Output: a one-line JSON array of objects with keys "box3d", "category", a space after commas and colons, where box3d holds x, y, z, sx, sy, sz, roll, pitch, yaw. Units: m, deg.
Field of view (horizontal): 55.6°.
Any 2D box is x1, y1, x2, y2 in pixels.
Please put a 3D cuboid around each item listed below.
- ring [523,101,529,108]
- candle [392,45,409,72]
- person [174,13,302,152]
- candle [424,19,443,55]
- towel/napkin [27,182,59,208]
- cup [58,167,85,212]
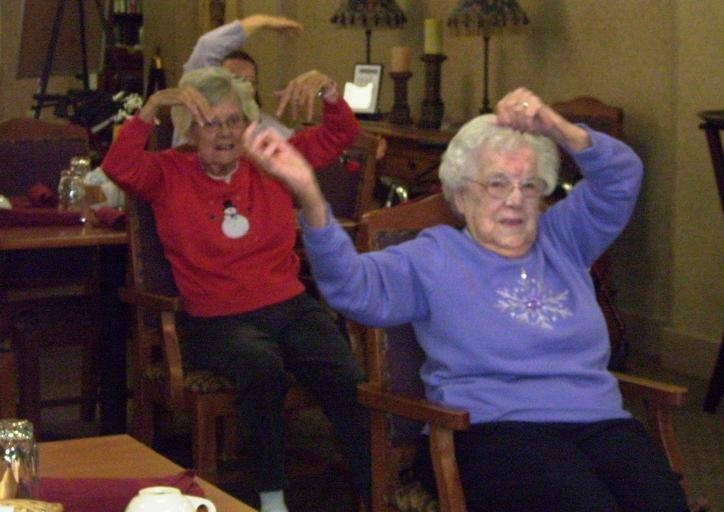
[{"box3d": [0.451, -0.422, 1.904, 0.015, 0.015, 0.004, 2, -4, 4], "category": "ring"}, {"box3d": [0.273, -1.418, 4.967, 0.127, 0.188, 0.111, 0, 9, -2], "category": "candle"}, {"box3d": [-0.710, -0.811, 4.055, 0.593, 1.243, 0.413, -14, 34, -31], "category": "person"}, {"box3d": [0.489, -1.490, 4.721, 0.107, 0.223, 0.268, 2, 9, 9], "category": "candle"}, {"box3d": [-1.635, -0.321, 3.516, 0.095, 0.065, 0.191, -10, 20, -17], "category": "towel/napkin"}, {"box3d": [-1.406, -0.314, 3.297, 0.089, 0.187, 0.272, -7, 11, -41], "category": "cup"}]
